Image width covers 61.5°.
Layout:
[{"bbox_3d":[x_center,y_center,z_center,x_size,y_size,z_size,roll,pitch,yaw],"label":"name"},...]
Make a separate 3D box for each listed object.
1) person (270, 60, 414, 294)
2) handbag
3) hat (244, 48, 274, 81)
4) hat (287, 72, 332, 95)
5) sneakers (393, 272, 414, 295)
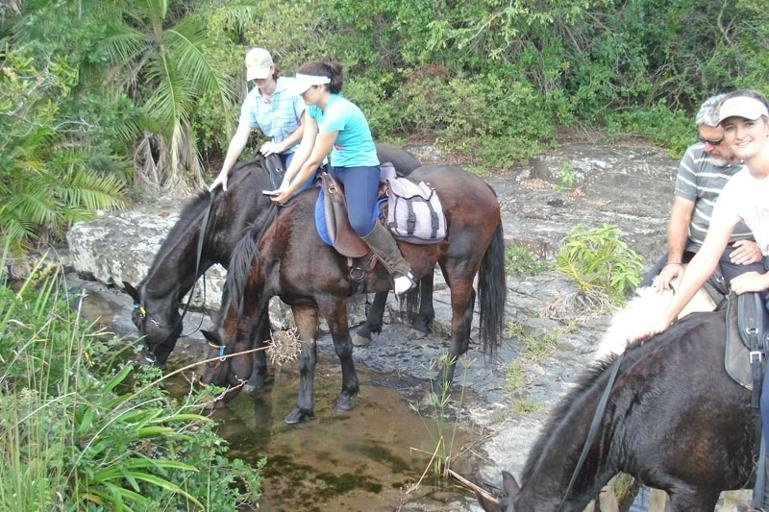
[{"bbox_3d":[-0.397,-0.749,6.330,1.457,2.203,0.545,9,18,12],"label":"person"},{"bbox_3d":[0.310,-0.431,6.475,0.667,0.648,0.350,2,-6,-32],"label":"handbag"},{"bbox_3d":[-1.297,-2.034,6.732,0.237,0.214,0.368,-8,44,16],"label":"hat"},{"bbox_3d":[-0.706,-1.585,5.969,0.291,0.100,0.204,-11,19,-7],"label":"hat"},{"bbox_3d":[0.222,0.279,6.492,0.223,0.201,0.171,1,0,-31],"label":"sneakers"}]
